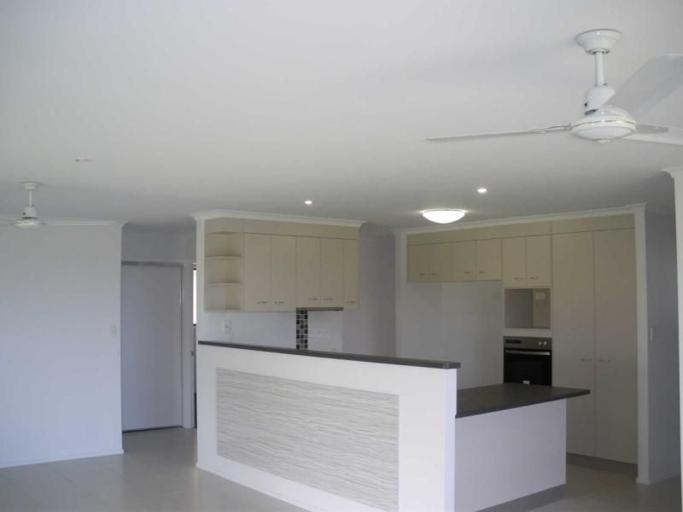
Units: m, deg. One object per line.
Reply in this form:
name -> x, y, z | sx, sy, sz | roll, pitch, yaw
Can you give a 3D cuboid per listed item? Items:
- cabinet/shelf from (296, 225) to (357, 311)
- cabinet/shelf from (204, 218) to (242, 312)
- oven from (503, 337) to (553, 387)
cabinet/shelf -> -0.222, 0.140, 7.053 | 1.059, 0.968, 0.523 | 3, -5, -41
cabinet/shelf -> -1.345, 0.102, 6.418 | 0.362, 1.000, 0.354 | 2, -3, -34
oven -> 2.211, 1.291, 6.937 | 0.541, 0.792, 0.558 | 14, -15, -43
